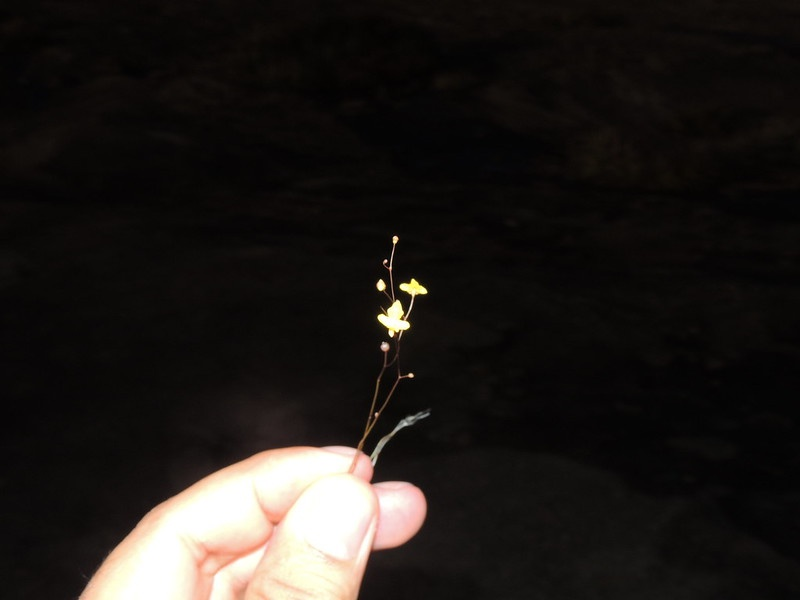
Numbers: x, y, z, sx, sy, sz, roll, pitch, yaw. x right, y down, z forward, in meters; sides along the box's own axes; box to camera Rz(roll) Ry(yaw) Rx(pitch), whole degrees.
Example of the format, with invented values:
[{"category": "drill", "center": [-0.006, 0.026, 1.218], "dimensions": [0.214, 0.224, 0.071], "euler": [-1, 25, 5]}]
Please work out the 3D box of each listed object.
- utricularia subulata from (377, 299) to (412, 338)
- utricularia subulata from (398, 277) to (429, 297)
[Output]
[{"category": "utricularia subulata", "center": [-0.026, 0.100, 4.257], "dimensions": [0.195, 0.056, 0.187], "euler": [12, 99, 7]}, {"category": "utricularia subulata", "center": [0.070, -0.066, 4.278], "dimensions": [0.117, 0.109, 0.030], "euler": [4, 52, 3]}]
